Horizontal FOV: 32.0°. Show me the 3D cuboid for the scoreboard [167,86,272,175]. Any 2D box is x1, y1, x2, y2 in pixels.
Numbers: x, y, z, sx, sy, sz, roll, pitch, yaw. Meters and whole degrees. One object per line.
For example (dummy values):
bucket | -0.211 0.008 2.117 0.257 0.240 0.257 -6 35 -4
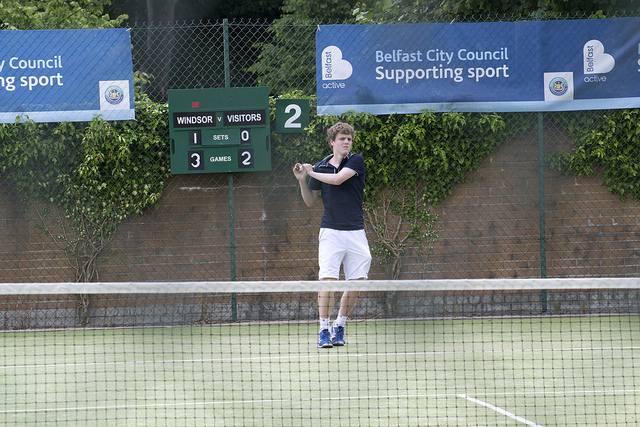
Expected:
scoreboard | -1.630 -1.341 18.051 1.222 1.157 0.140 -2 -1 -3
